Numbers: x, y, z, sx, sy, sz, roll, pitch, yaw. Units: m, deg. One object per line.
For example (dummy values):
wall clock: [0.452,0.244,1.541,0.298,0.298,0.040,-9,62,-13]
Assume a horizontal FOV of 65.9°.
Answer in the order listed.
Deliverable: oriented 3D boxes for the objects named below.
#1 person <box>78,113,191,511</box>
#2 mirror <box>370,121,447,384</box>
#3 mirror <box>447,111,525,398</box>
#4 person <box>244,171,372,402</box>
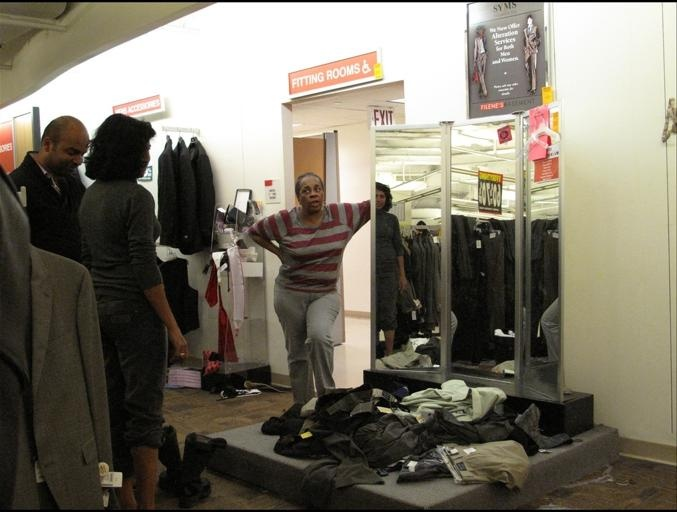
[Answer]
person: [-1.037,0.277,2.705,0.424,1.968,0.585,-9,16,-25]
mirror: [0.620,-0.055,4.325,0.659,2.040,0.672,0,15,6]
mirror: [1.155,-0.049,4.107,0.442,2.057,0.909,-14,19,-39]
person: [-0.180,0.312,4.161,0.812,1.888,1.083,-5,15,-14]
